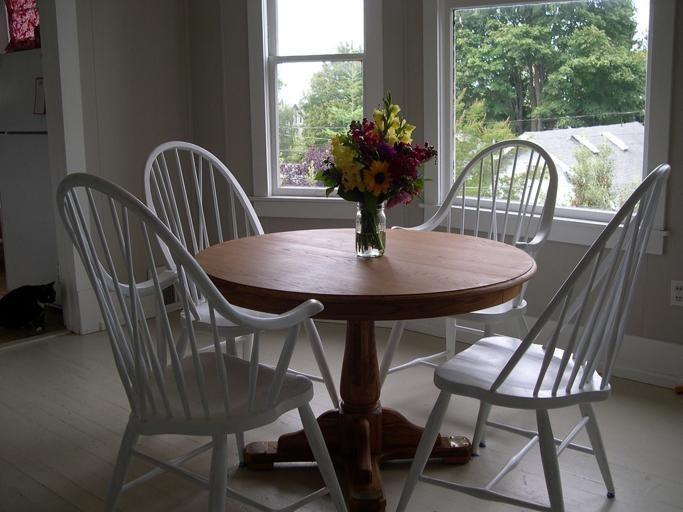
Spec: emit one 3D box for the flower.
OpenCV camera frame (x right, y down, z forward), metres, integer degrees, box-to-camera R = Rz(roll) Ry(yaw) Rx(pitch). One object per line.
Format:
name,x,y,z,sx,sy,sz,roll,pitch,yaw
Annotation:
flower,0.128,-0.301,2.186,0.414,0.583,0.453,0,24,-10

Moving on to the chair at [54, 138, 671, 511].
chair,0.188,0.311,2.389,1.555,1.114,1.168,-9,19,-32
